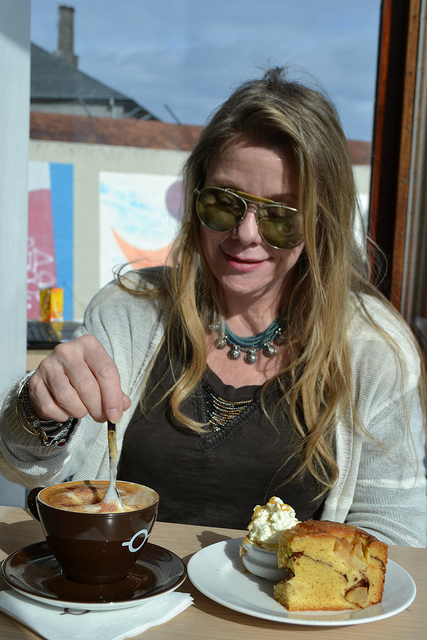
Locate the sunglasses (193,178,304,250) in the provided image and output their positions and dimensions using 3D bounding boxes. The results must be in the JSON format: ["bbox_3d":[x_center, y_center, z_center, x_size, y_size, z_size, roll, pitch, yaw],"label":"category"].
[{"bbox_3d":[0.086,-0.250,1.425,0.276,0.130,0.097,8,6,6],"label":"sunglasses"}]

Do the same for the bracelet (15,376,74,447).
[{"bbox_3d":[-0.332,0.188,1.159,0.117,0.128,0.057,7,-18,-2],"label":"bracelet"}]

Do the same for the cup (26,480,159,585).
[{"bbox_3d":[-0.167,0.266,0.791,0.155,0.077,0.132,2,1,41],"label":"cup"}]

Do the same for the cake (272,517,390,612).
[{"bbox_3d":[0.162,0.321,0.796,0.122,0.080,0.115,3,-5,-16],"label":"cake"}]
